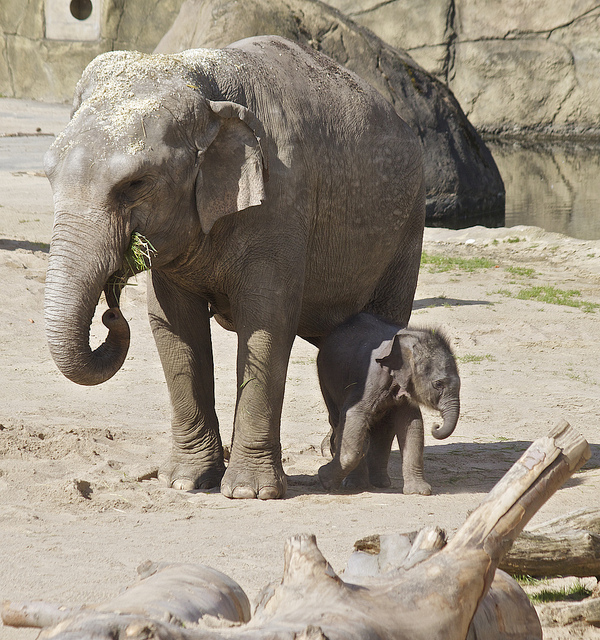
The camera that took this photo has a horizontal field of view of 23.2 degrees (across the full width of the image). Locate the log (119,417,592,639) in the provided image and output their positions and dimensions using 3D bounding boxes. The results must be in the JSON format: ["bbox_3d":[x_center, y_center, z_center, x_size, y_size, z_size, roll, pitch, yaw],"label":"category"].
[{"bbox_3d":[0.288,0.904,5.065,1.288,0.495,0.852,-10,-12,-2],"label":"log"}]

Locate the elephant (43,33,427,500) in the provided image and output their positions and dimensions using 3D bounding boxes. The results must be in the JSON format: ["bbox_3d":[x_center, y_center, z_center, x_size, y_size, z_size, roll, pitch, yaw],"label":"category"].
[{"bbox_3d":[-0.291,-0.314,7.907,1.220,2.350,2.633,5,11,42],"label":"elephant"}]

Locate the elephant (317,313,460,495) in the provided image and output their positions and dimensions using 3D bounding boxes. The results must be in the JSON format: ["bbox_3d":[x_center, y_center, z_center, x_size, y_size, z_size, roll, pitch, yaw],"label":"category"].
[{"bbox_3d":[0.434,0.456,7.956,0.504,0.988,1.076,2,1,-44],"label":"elephant"}]
